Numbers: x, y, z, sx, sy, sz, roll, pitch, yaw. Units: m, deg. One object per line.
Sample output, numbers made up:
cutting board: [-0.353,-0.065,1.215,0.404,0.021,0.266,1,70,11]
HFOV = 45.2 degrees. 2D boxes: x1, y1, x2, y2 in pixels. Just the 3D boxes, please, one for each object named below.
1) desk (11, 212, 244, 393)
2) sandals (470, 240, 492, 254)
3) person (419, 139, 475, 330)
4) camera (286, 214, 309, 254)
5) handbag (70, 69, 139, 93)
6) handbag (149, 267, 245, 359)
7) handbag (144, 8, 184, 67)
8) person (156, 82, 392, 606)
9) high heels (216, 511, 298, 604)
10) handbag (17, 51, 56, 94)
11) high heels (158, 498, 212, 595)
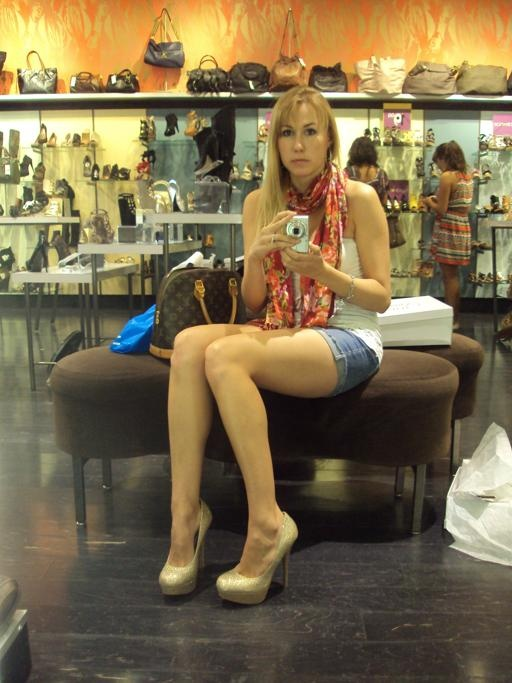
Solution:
desk: [-0.911,-0.498,3.976,1.627,1.178,1.675,0,12,-1]
sandals: [2.318,-0.982,6.458,0.151,0.041,0.142,-5,29,-1]
person: [1.752,-0.995,5.739,0.453,1.655,1.115,2,9,17]
camera: [0.098,-0.258,1.483,0.053,0.088,0.033,0,9,2]
handbag: [-1.594,-2.754,6.544,0.707,0.280,0.241,1,9,12]
handbag: [-0.144,-0.098,1.908,0.330,0.272,0.226,-7,11,-18]
handbag: [-0.977,-3.252,6.602,0.412,0.642,0.330,-1,9,-1]
person: [0.051,-0.041,1.540,0.467,1.222,0.657,3,10,22]
high heels: [0.000,0.496,1.416,0.214,0.171,0.109,-2,-2,-34]
handbag: [-2.347,-2.921,6.663,0.400,0.566,0.497,-3,9,-16]
high heels: [-0.154,0.459,1.449,0.078,0.232,0.097,11,-10,3]
